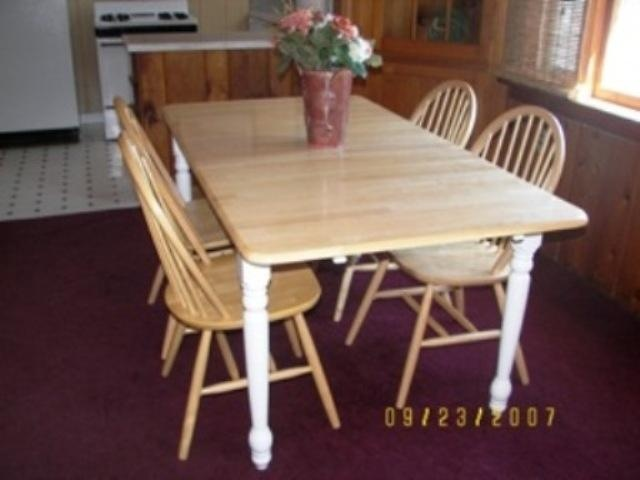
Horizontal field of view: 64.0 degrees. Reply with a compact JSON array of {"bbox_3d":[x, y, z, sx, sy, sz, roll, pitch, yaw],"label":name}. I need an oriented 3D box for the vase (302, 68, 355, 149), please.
[{"bbox_3d":[0.011,-0.493,1.938,0.230,0.276,0.243,4,17,15],"label":"vase"}]

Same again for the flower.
[{"bbox_3d":[0.012,-0.678,1.748,0.307,0.193,0.314,1,33,-10],"label":"flower"}]
